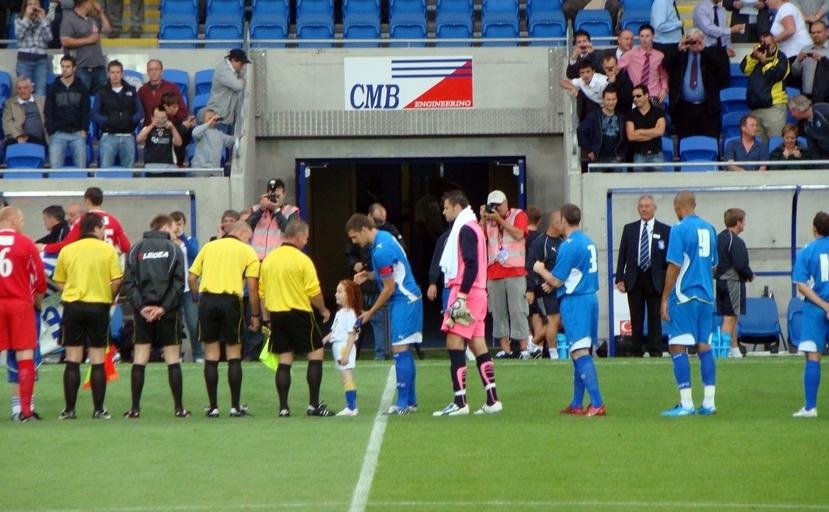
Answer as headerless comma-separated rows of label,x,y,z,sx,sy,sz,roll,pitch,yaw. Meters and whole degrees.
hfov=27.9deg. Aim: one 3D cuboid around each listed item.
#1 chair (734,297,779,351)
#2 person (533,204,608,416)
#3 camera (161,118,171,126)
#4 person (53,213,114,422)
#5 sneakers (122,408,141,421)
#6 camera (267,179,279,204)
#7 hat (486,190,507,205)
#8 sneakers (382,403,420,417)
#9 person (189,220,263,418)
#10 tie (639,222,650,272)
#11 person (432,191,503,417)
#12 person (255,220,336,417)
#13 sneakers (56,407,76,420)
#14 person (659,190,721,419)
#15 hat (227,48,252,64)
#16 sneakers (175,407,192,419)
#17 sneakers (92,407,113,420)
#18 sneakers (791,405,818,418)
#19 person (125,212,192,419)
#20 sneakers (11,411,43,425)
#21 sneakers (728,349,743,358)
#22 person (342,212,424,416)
chair,6.342,1.286,30.681,0.862,0.971,0.904,-1,3,-8
person,2.482,0.859,26.330,1.103,3.313,1.059,-3,-4,26
camera,-4.740,-2.540,31.764,0.122,0.034,0.128,13,36,15
person,-5.197,0.994,26.452,1.087,3.144,0.972,-5,13,-17
sneakers,-4.499,2.469,26.399,0.232,0.143,0.307,-4,14,-12
camera,-2.502,-1.130,29.252,0.194,0.378,0.305,-2,13,-5
hat,1.406,-1.009,28.337,0.240,0.207,0.364,-2,-6,15
sneakers,-0.194,2.423,26.291,0.531,0.231,0.187,1,0,-10
person,-3.031,1.046,26.561,1.028,3.153,1.026,1,-9,-13
tie,4.143,-0.154,29.855,0.215,0.809,0.221,1,13,8
person,0.815,0.725,26.225,0.863,3.552,1.187,-2,-6,17
person,-1.953,1.020,26.355,1.106,3.097,0.735,1,1,3
sneakers,-5.519,2.482,26.359,0.224,0.141,0.141,4,3,16
person,4.319,0.756,25.963,0.786,3.316,1.022,1,13,8
hat,-3.439,-3.838,32.319,0.403,0.351,0.903,-2,14,-5
sneakers,-3.674,2.479,26.416,0.109,0.116,0.261,2,7,18
sneakers,-4.991,2.493,26.389,0.268,0.206,0.136,1,5,-10
sneakers,6.122,2.409,25.943,0.427,0.198,0.164,1,2,4
person,-4.125,0.967,26.421,0.986,3.020,0.962,-3,13,-9
sneakers,-6.147,2.545,26.290,0.448,0.204,0.170,-2,3,-7
sneakers,5.829,1.741,30.064,0.110,0.130,0.291,1,2,29
person,-0.395,0.927,26.186,0.967,3.052,0.602,6,14,28
